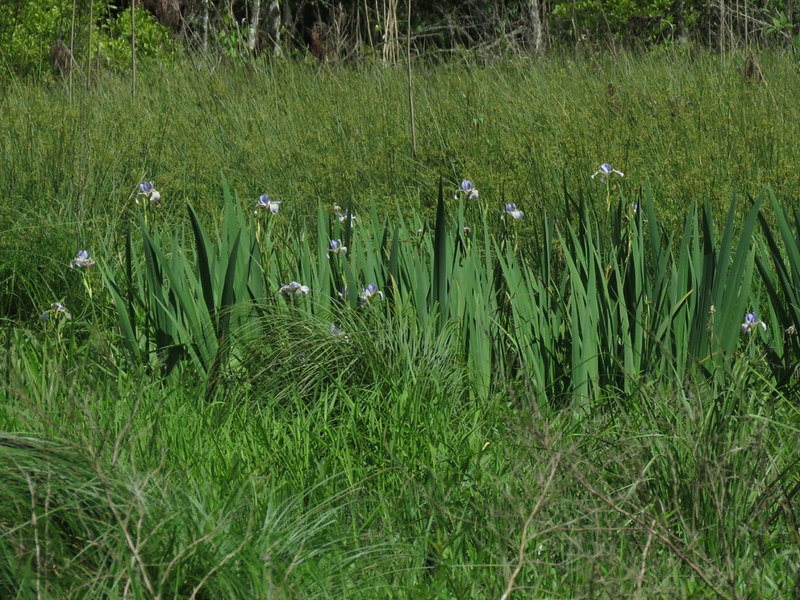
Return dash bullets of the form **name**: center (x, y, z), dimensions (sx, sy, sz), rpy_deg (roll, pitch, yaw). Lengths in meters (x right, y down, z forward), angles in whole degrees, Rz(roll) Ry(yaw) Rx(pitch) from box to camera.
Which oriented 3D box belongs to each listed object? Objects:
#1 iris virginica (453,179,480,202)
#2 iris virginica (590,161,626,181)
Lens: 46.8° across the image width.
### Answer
- **iris virginica**: center (0.319, -0.542, 4.293), dimensions (0.113, 0.096, 0.142), rpy_deg (10, -6, -5)
- **iris virginica**: center (1.072, -0.659, 4.724), dimensions (0.114, 0.083, 0.143), rpy_deg (-3, 15, -8)
